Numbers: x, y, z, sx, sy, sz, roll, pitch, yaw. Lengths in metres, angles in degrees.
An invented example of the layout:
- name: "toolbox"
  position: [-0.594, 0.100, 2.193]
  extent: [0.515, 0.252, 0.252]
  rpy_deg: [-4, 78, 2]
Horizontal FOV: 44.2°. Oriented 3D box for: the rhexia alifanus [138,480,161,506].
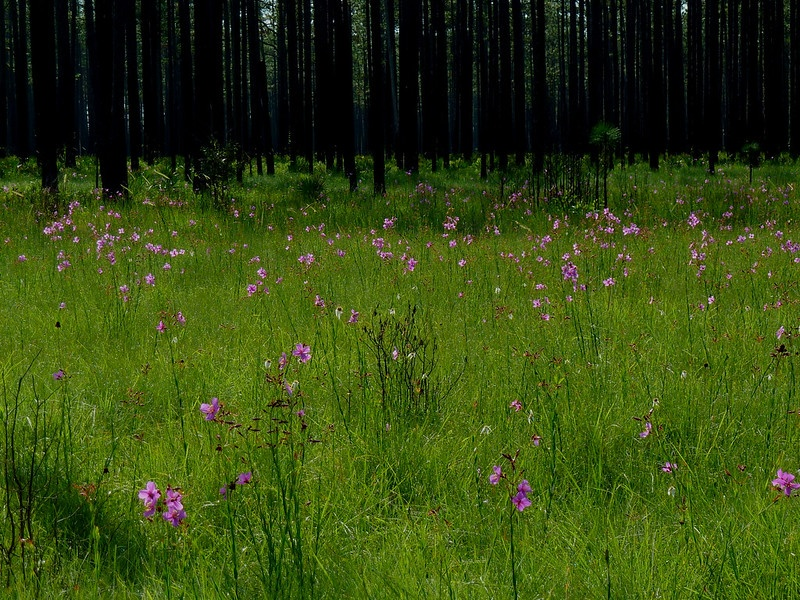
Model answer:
- name: "rhexia alifanus"
  position: [-2.794, 2.170, 11.062]
  extent: [0.227, 0.350, 0.313]
  rpy_deg: [-1, 3, -5]
